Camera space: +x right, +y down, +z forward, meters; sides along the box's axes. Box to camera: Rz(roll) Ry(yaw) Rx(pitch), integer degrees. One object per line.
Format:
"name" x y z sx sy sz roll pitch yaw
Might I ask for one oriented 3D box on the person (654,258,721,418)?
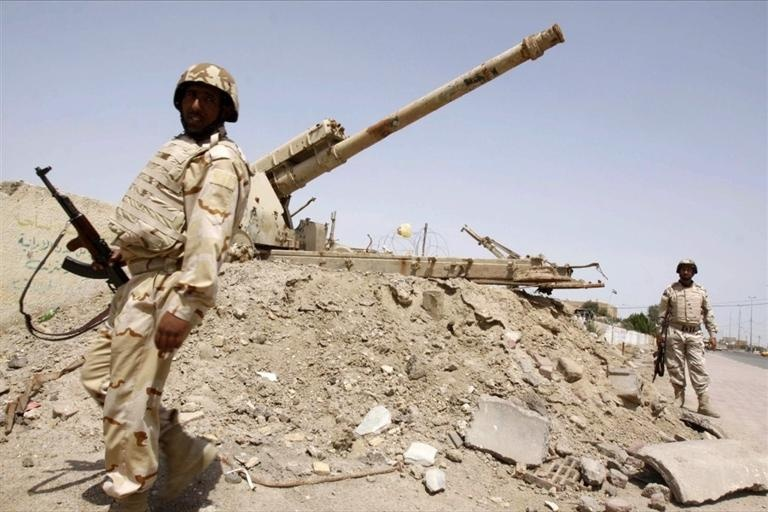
"person" 5.335 1.405 9.918 0.980 2.657 0.672 3 -2 27

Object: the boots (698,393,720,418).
"boots" 5.552 2.550 9.653 0.334 0.396 0.324 3 -3 22

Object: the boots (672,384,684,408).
"boots" 5.068 2.402 9.726 0.156 0.359 0.347 3 -3 25

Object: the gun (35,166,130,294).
"gun" -3.390 -0.054 6.343 0.173 1.825 0.805 -24 18 15

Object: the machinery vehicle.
"machinery vehicle" -0.627 -1.662 11.605 9.059 4.823 3.036 0 12 5
